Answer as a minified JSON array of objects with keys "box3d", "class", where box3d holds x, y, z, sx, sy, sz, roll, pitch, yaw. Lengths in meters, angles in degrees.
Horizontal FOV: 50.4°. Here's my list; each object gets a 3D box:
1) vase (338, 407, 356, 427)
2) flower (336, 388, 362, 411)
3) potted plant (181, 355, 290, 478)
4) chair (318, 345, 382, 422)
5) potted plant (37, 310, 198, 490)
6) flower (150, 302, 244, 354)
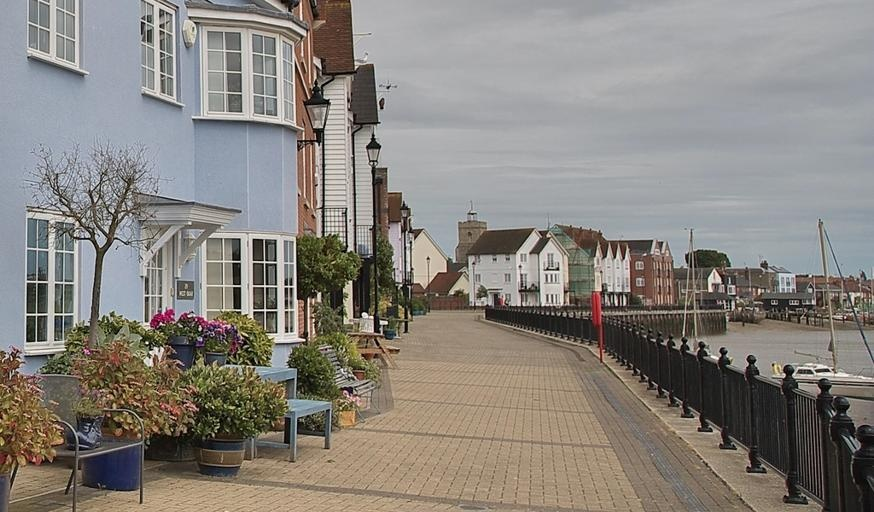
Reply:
[{"box3d":[-1.778,3.192,18.138,0.283,0.312,0.428,2,-1,32],"class":"vase"},{"box3d":[-1.738,2.832,18.233,0.436,0.309,0.409,4,-4,11],"class":"flower"},{"box3d":[-3.267,2.554,15.007,1.538,1.813,1.772,-3,-8,27],"class":"potted plant"},{"box3d":[-1.790,2.605,19.134,1.227,1.437,2.226,-1,1,-2],"class":"chair"},{"box3d":[-4.689,2.176,14.259,2.683,3.009,2.354,2,-5,-10],"class":"potted plant"},{"box3d":[-4.235,1.344,16.408,1.149,0.607,0.884,10,-5,-15],"class":"flower"}]
